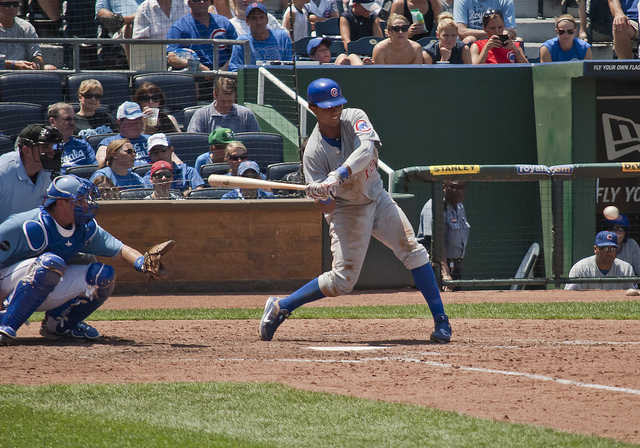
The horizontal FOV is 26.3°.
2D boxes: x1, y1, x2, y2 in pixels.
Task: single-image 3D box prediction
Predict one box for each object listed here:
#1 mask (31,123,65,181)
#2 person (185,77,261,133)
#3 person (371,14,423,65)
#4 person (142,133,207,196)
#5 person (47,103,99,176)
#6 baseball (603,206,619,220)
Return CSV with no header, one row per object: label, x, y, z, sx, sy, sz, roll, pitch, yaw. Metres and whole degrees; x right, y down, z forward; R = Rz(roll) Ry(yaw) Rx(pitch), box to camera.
mask,-2.424,-0.647,12.301,0.277,0.407,0.217,5,-7,-26
person,-1.119,-1.350,15.831,0.818,0.623,0.302,-1,5,-3
person,0.913,-2.227,16.889,0.512,0.665,0.529,9,20,16
person,-1.752,-0.665,15.177,0.652,0.840,0.443,0,49,-11
person,-2.759,-0.975,15.191,0.638,0.975,0.601,-8,21,-33
baseball,3.292,-0.095,15.487,0.158,0.139,0.255,0,4,11
